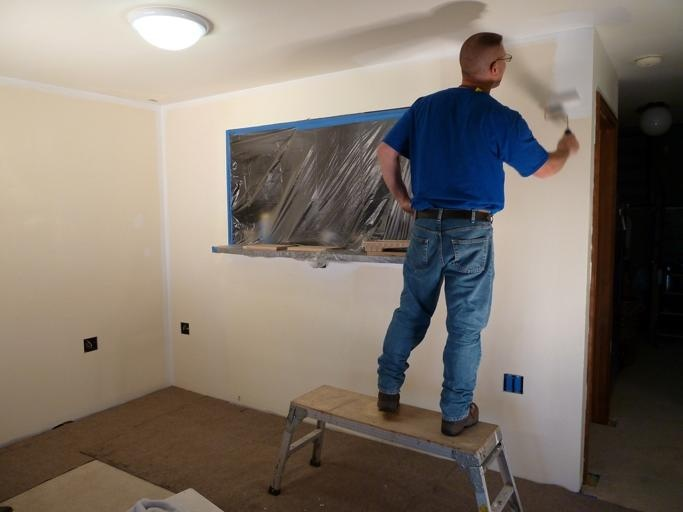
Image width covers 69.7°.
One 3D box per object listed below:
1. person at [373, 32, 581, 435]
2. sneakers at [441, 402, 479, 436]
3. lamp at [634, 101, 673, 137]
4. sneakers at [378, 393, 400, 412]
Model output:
[{"bbox_3d":[0.614,-0.104,2.567,0.846,2.032,0.522,0,12,4],"label":"person"},{"bbox_3d":[0.642,0.861,2.645,0.101,0.103,0.250,6,9,41],"label":"sneakers"},{"bbox_3d":[2.748,-1.202,4.399,0.324,0.365,0.319,-2,10,3],"label":"lamp"},{"bbox_3d":[0.259,0.828,2.765,0.076,0.065,0.146,-2,-11,15],"label":"sneakers"}]
